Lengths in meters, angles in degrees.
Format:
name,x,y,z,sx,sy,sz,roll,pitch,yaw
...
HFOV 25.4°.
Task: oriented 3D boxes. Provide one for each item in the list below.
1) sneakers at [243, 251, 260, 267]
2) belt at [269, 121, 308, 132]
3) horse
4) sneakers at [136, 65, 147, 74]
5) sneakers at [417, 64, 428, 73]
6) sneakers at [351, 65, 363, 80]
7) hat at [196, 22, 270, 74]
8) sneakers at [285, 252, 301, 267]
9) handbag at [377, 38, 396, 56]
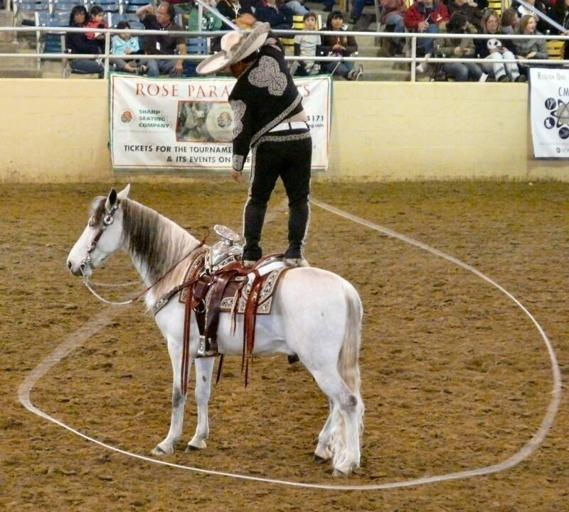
name,x,y,z,sx,sy,sz,roll,pitch,yaw
sneakers,-0.306,0.015,11.338,0.145,0.138,0.146,0,-14,0
belt,0.056,-1.170,11.378,0.385,0.086,0.108,-6,15,-29
horse,-0.592,0.669,11.546,3.066,2.201,0.841,6,4,17
sneakers,-2.102,-2.722,18.411,0.137,0.135,0.060,-3,14,-19
sneakers,2.090,-2.860,19.201,0.136,0.130,0.114,31,27,24
sneakers,1.086,-2.779,19.142,0.206,0.278,0.101,8,-4,34
hat,-0.473,-1.878,11.393,0.643,0.457,0.431,1,13,-1
sneakers,0.067,0.018,11.318,0.129,0.094,0.102,17,3,19
handbag,1.562,-3.198,19.299,0.289,0.272,0.256,-1,10,4
